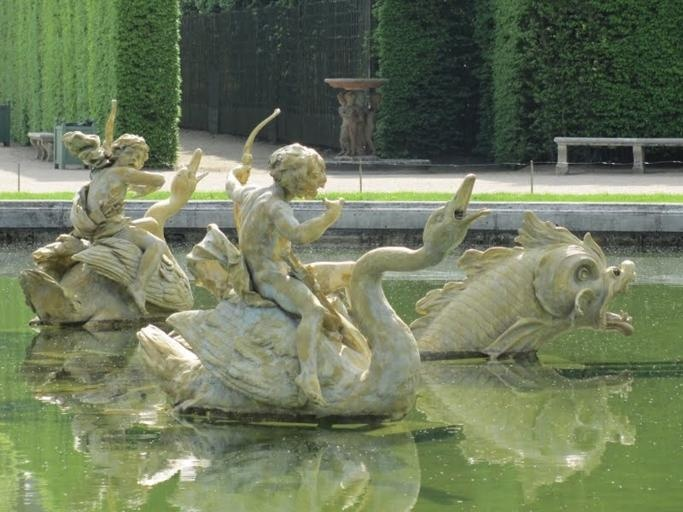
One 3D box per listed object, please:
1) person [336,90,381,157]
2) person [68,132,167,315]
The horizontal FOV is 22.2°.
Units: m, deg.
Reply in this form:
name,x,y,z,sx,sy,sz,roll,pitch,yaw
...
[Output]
name,x,y,z,sx,sy,sz,roll,pitch,yaw
person,0.345,-2.934,38.364,1.076,1.411,0.453,-4,10,-40
person,-3.163,-0.665,24.159,1.096,2.807,1.081,-11,18,-29
